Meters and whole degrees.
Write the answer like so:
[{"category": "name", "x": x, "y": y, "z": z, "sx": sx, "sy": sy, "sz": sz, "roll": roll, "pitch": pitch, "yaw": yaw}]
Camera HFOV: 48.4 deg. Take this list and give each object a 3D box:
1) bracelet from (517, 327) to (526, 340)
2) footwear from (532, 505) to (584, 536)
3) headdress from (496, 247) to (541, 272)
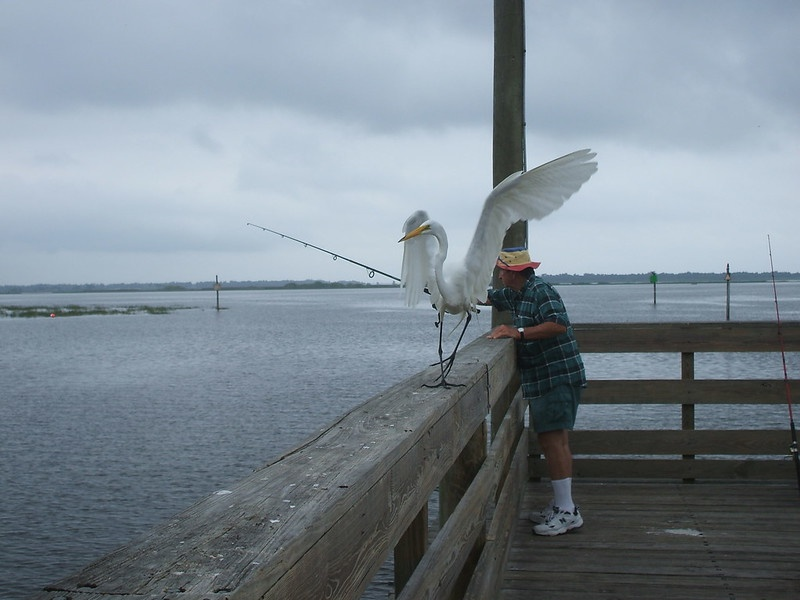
[{"category": "bracelet", "x": 1.034, "y": 0.283, "z": 7.600, "sx": 0.074, "sy": 0.086, "sz": 0.107, "roll": 3, "pitch": -2, "yaw": 9}, {"category": "footwear", "x": 1.349, "y": 1.932, "z": 7.836, "sx": 0.459, "sy": 0.216, "sz": 0.206, "roll": -5, "pitch": 10, "yaw": -6}, {"category": "headdress", "x": 0.951, "y": -0.327, "z": 7.426, "sx": 0.388, "sy": 0.182, "sz": 0.436, "roll": -8, "pitch": 6, "yaw": -26}]
